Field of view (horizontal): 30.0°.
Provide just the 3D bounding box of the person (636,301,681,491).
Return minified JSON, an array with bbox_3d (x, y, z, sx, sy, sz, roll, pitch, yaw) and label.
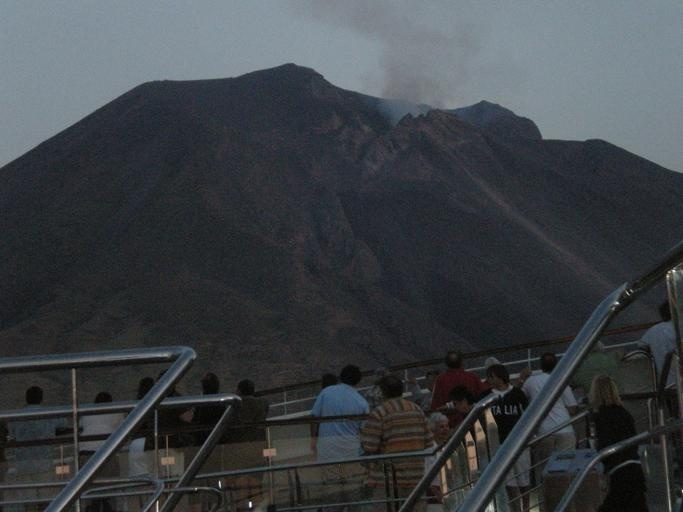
[{"bbox_3d":[7.018,2.777,27.937,0.879,3.604,0.689,0,-2,15],"label":"person"}]
